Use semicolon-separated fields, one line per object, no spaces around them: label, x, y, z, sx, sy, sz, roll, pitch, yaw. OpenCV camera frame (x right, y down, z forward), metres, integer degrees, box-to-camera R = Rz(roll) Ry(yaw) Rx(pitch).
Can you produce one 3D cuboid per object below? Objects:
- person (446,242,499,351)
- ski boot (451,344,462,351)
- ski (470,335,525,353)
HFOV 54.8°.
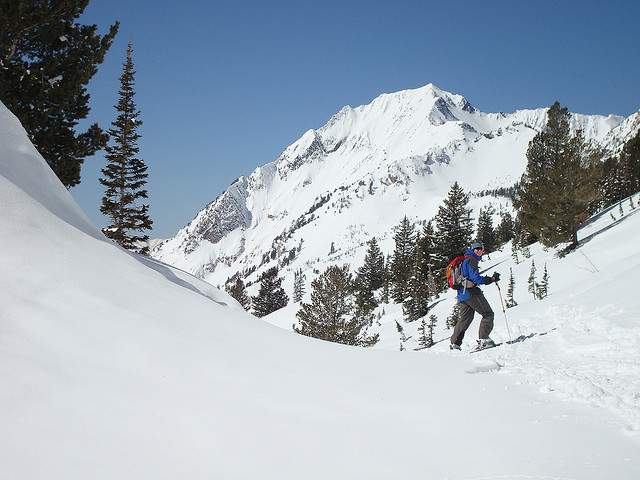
person;3.443;1.173;14.014;1.030;2.500;1.258;-1;-29;7
ski boot;3.086;2.428;14.009;0.451;0.181;0.103;7;-11;-37
ski;3.970;2.318;13.694;1.159;0.149;0.114;-19;-46;-4
